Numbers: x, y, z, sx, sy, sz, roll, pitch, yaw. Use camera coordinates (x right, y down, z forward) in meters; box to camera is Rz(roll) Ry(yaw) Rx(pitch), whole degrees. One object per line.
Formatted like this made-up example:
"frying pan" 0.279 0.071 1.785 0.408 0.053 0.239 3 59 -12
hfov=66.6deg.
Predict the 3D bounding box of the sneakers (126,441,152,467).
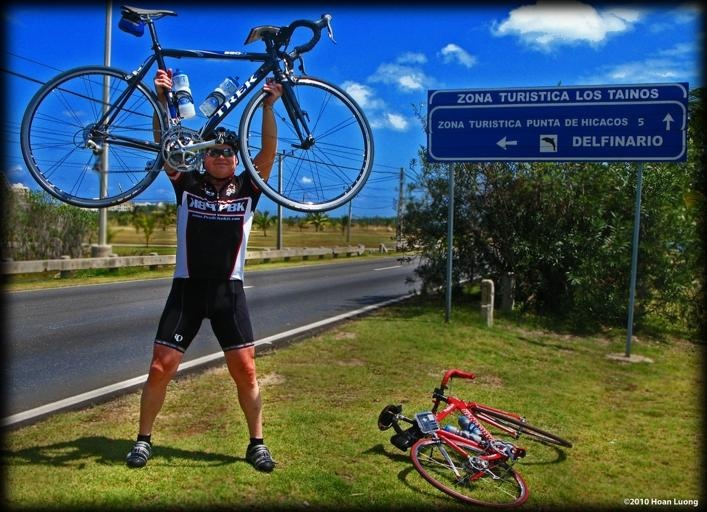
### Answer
"sneakers" -2.203 2.034 5.521 0.145 0.145 0.321 4 6 -15

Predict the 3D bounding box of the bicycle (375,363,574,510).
"bicycle" 1.383 1.962 5.916 1.630 0.677 1.352 5 9 -20
